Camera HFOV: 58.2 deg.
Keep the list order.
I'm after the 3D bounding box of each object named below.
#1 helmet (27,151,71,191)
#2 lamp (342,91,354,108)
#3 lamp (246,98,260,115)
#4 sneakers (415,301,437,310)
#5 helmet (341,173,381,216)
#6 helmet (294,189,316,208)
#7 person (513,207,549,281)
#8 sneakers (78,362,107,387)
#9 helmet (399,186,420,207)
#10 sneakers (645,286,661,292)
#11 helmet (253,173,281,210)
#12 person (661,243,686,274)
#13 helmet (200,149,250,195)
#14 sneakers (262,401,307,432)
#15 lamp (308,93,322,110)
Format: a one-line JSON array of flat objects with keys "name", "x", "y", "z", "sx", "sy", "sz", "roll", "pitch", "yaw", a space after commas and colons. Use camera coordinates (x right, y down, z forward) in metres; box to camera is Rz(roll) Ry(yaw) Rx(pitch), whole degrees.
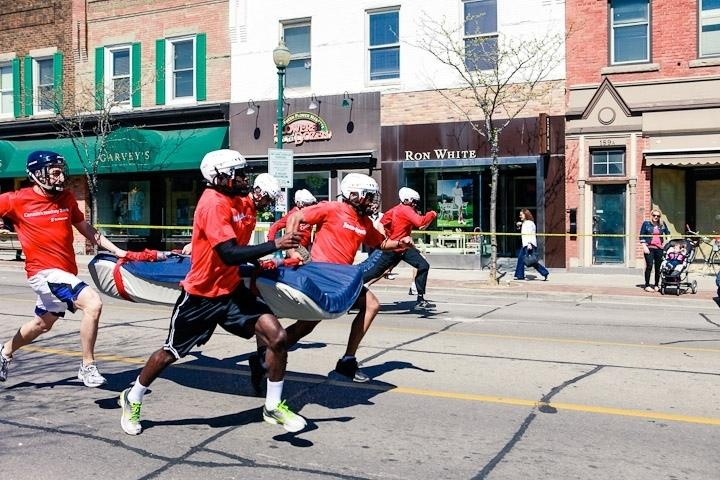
[{"name": "helmet", "x": -3.921, "y": -0.869, "z": 7.953, "sx": 0.524, "sy": 0.419, "sz": 0.390, "roll": -6, "pitch": 6, "yaw": -7}, {"name": "lamp", "x": -0.450, "y": -4.936, "z": 22.835, "sx": 0.580, "sy": 0.557, "sz": 0.388, "roll": -2, "pitch": 4, "yaw": -20}, {"name": "lamp", "x": -4.066, "y": -4.959, "z": 24.151, "sx": 0.597, "sy": 0.547, "sz": 0.416, "roll": 0, "pitch": 2, "yaw": -29}, {"name": "sneakers", "x": 1.414, "y": 1.371, "z": 13.626, "sx": 0.423, "sy": 0.150, "sz": 0.202, "roll": -1, "pitch": 3, "yaw": -16}, {"name": "helmet", "x": 0.005, "y": -0.596, "z": 8.449, "sx": 0.479, "sy": 0.530, "sz": 0.623, "roll": 0, "pitch": 5, "yaw": 0}, {"name": "helmet", "x": -1.183, "y": -0.888, "z": 13.951, "sx": 0.424, "sy": 0.462, "sz": 0.461, "roll": 0, "pitch": -30, "yaw": -21}, {"name": "person", "x": 5.112, "y": 0.135, "z": 19.091, "sx": 0.906, "sy": 2.010, "sz": 1.294, "roll": 2, "pitch": 5, "yaw": 13}, {"name": "sneakers", "x": -3.384, "y": 1.684, "z": 8.045, "sx": 0.459, "sy": 0.194, "sz": 0.208, "roll": 11, "pitch": 12, "yaw": 24}, {"name": "helmet", "x": 1.017, "y": -0.834, "z": 12.493, "sx": 0.459, "sy": 0.302, "sz": 0.336, "roll": -5, "pitch": 22, "yaw": -8}, {"name": "sneakers", "x": 7.554, "y": 1.244, "z": 16.542, "sx": 0.147, "sy": 0.153, "sz": 0.405, "roll": -2, "pitch": -3, "yaw": -26}, {"name": "helmet", "x": -0.987, "y": -0.547, "z": 7.167, "sx": 0.367, "sy": 0.309, "sz": 0.274, "roll": 26, "pitch": 14, "yaw": -5}, {"name": "person", "x": 7.788, "y": 0.393, "z": 15.776, "sx": 0.515, "sy": 0.720, "sz": 0.463, "roll": 4, "pitch": 6, "yaw": 36}, {"name": "helmet", "x": -1.434, "y": -0.718, "z": 6.900, "sx": 0.568, "sy": 0.430, "sz": 0.441, "roll": -4, "pitch": 4, "yaw": 23}, {"name": "sneakers", "x": -0.795, "y": 1.800, "z": 6.711, "sx": 0.559, "sy": 0.213, "sz": 0.253, "roll": 6, "pitch": 19, "yaw": 34}, {"name": "lamp", "x": -1.654, "y": -4.933, "z": 23.243, "sx": 0.616, "sy": 0.582, "sz": 0.420, "roll": -2, "pitch": 7, "yaw": -19}]
